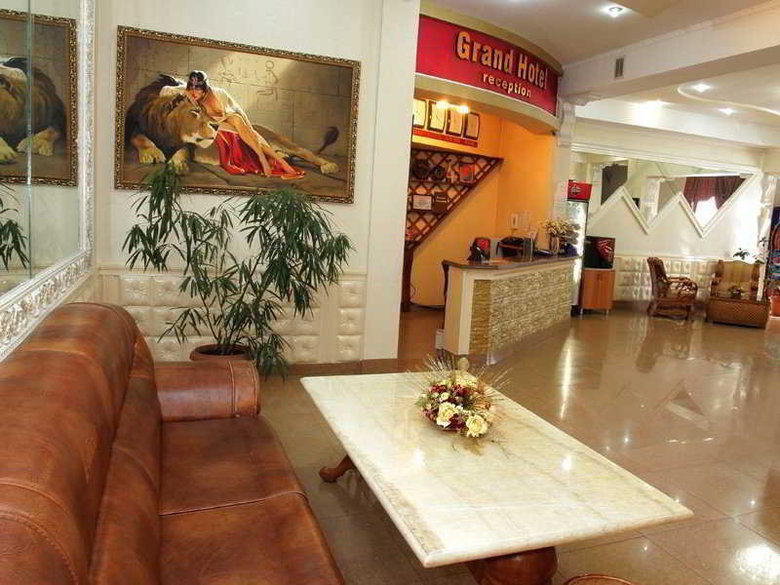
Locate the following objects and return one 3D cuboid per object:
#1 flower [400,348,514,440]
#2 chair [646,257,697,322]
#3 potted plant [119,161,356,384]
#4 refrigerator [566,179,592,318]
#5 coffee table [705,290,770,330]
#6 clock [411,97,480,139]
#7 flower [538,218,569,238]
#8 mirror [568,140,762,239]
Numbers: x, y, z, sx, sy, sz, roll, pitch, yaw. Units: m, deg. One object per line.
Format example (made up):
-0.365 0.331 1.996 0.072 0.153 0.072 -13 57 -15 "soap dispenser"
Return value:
0.411 0.589 3.193 0.438 0.497 0.531 2 7 -32 "flower"
4.898 0.002 9.401 0.738 1.246 0.810 6 5 19 "chair"
-1.102 0.207 4.610 2.094 2.283 1.534 3 17 -25 "potted plant"
3.087 -0.687 8.755 0.365 2.284 0.349 5 7 -4 "refrigerator"
5.799 0.313 8.902 0.837 0.455 0.268 8 11 24 "coffee table"
0.934 -2.683 8.419 1.401 0.487 0.149 -5 12 -37 "clock"
2.473 -0.963 7.991 0.385 0.285 0.401 7 13 26 "flower"
5.244 -2.050 10.894 4.718 1.503 0.622 17 7 -8 "mirror"
